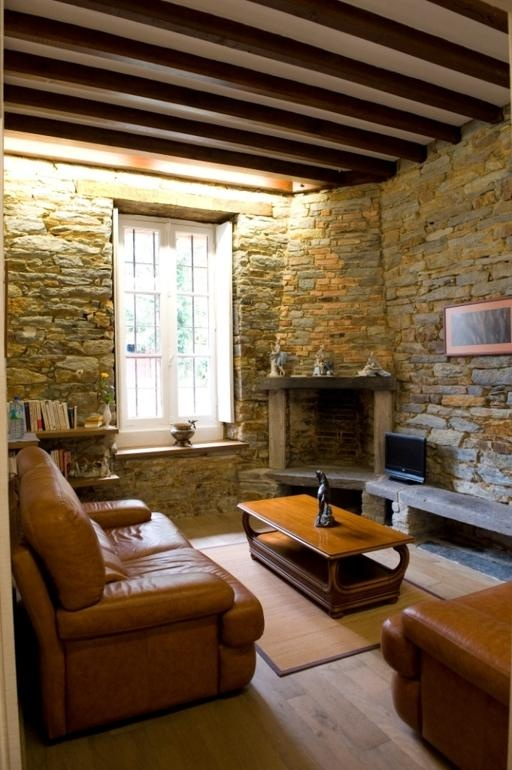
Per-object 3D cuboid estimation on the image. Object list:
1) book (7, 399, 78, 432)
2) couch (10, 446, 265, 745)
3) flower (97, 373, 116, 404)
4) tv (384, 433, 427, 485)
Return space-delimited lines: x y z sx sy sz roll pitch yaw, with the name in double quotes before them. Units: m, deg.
"book" -1.625 0.228 4.188 0.279 0.255 0.659 0 2 19
"couch" -0.673 0.836 2.724 0.925 0.924 1.465 -2 4 -26
"flower" -1.224 0.025 4.636 0.124 0.275 0.241 0 2 19
"tv" 1.244 0.610 4.619 0.100 0.393 0.466 0 1 -28
